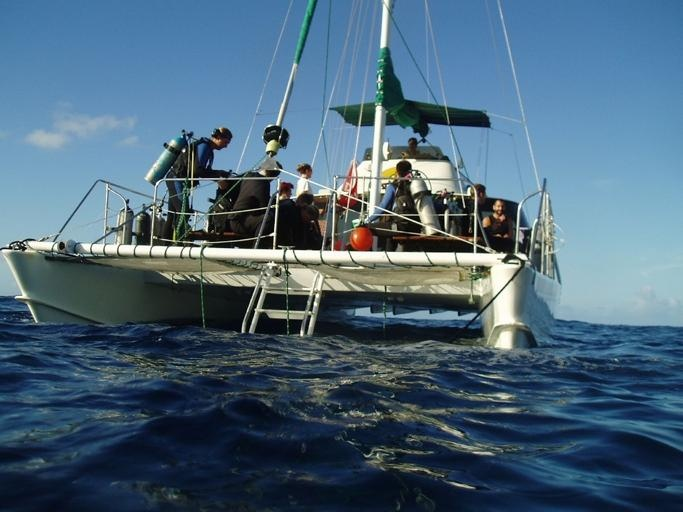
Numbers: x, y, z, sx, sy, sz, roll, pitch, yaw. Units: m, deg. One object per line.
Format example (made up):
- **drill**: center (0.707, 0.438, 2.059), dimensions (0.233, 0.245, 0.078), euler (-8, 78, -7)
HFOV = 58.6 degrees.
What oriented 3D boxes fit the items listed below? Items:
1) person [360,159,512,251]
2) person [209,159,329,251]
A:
- **person**: center (1.122, -0.528, 7.522), dimensions (1.643, 0.562, 1.726), euler (2, 0, 17)
- **person**: center (-0.874, -0.631, 7.330), dimensions (1.369, 1.080, 1.343), euler (5, 1, -1)
